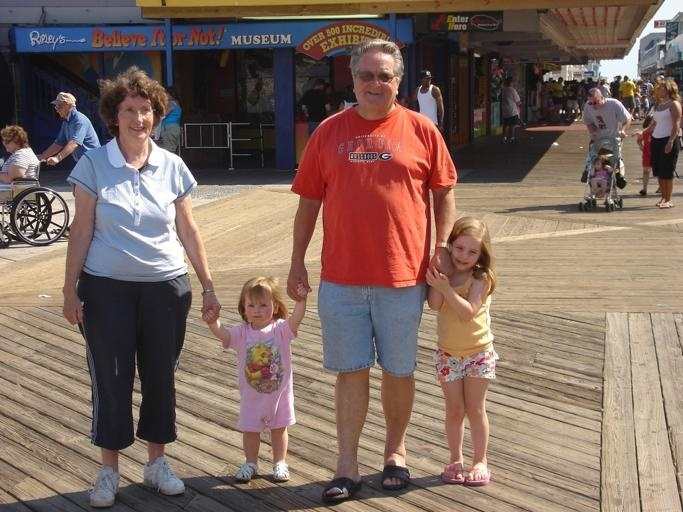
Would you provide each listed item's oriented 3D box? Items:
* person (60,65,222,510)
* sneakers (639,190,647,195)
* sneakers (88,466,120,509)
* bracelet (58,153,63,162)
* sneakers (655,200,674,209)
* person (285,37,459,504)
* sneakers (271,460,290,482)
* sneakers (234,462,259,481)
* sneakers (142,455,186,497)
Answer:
[{"bbox_3d":[-1.077,0.156,3.871,0.758,2.209,0.510,-6,12,-24],"label":"person"},{"bbox_3d":[5.374,-1.121,13.017,0.068,0.068,0.156,-1,1,16],"label":"sneakers"},{"bbox_3d":[-1.246,1.218,3.822,0.118,0.162,0.148,-2,12,-5],"label":"sneakers"},{"bbox_3d":[-3.815,-1.335,9.886,0.097,0.119,0.032,3,6,2],"label":"bracelet"},{"bbox_3d":[5.180,-0.823,11.696,0.134,0.116,0.385,-1,1,20],"label":"sneakers"},{"bbox_3d":[0.148,0.064,3.895,0.901,2.344,0.617,0,11,8],"label":"person"},{"bbox_3d":[-0.340,1.201,4.041,0.082,0.084,0.185,-1,-2,-4],"label":"sneakers"},{"bbox_3d":[-0.528,1.199,4.021,0.058,0.065,0.137,-2,-9,12],"label":"sneakers"},{"bbox_3d":[-0.968,1.194,3.961,0.258,0.177,0.132,10,1,28],"label":"sneakers"}]
